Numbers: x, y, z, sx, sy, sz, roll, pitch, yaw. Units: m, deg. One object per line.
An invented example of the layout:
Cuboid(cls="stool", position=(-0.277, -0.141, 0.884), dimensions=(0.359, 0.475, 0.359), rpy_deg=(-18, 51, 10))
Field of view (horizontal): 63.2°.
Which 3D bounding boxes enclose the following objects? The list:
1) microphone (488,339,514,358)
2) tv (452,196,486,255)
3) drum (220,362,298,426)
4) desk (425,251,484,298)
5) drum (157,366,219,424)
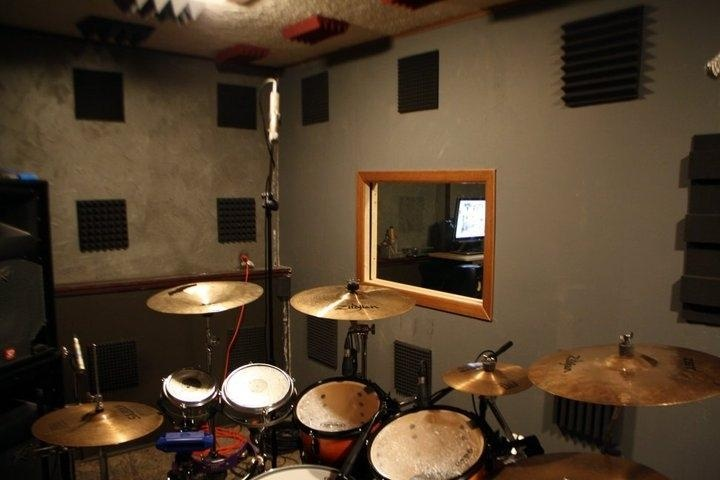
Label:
Cuboid(cls="microphone", position=(1.051, 0.810, 4.340), dimensions=(0.219, 0.091, 0.096), rpy_deg=(-26, 51, -34))
Cuboid(cls="tv", position=(1.328, -0.176, 7.171), dimensions=(0.706, 0.680, 0.239), rpy_deg=(-3, 7, -37))
Cuboid(cls="drum", position=(-0.757, 1.126, 4.269), dimensions=(0.514, 0.305, 0.510), rpy_deg=(1, 4, 0))
Cuboid(cls="desk", position=(1.184, 0.486, 7.006), dimensions=(0.642, 0.589, 0.442), rpy_deg=(0, -7, -41))
Cuboid(cls="drum", position=(-1.266, 1.122, 4.253), dimensions=(0.359, 0.163, 0.360), rpy_deg=(8, 27, -4))
